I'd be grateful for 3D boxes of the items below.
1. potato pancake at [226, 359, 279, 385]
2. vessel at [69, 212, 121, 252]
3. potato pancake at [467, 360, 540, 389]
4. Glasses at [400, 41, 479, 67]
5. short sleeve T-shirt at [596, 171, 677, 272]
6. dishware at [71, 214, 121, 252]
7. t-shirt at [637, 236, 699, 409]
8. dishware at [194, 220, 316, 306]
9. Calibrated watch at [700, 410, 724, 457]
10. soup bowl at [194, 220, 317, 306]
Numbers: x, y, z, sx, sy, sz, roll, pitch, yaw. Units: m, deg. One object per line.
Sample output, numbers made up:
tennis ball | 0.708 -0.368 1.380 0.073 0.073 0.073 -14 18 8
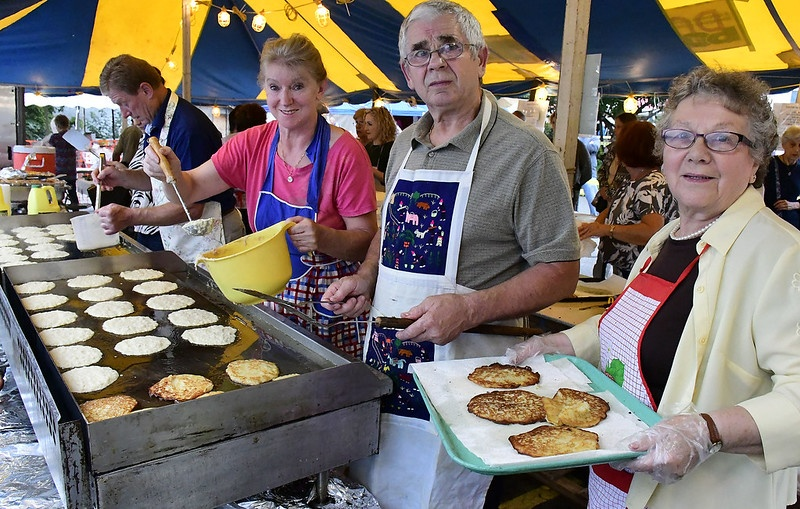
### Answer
potato pancake | -0.694 0.546 2.603 0.139 0.013 0.134 -3 18 -27
vessel | -2.139 -0.159 3.896 0.352 0.238 0.257 -15 13 -16
potato pancake | 0.463 0.526 2.446 0.195 0.021 0.132 4 22 2
Glasses | 0.196 -0.912 2.542 0.316 0.099 0.072 -1 15 4
short sleeve T-shirt | 1.763 -0.242 4.102 0.502 0.783 0.862 5 24 13
dishware | -2.104 -0.173 3.917 0.328 0.227 0.240 -22 11 -23
t-shirt | 1.118 0.255 2.272 0.145 0.598 0.321 12 -3 10
dishware | -0.678 0.047 2.631 0.523 0.248 0.335 -20 9 4
Calibrated watch | 1.119 0.620 1.964 0.034 0.113 0.119 -23 26 13
soup bowl | -0.618 0.026 2.690 0.639 0.301 0.410 -21 16 -11
